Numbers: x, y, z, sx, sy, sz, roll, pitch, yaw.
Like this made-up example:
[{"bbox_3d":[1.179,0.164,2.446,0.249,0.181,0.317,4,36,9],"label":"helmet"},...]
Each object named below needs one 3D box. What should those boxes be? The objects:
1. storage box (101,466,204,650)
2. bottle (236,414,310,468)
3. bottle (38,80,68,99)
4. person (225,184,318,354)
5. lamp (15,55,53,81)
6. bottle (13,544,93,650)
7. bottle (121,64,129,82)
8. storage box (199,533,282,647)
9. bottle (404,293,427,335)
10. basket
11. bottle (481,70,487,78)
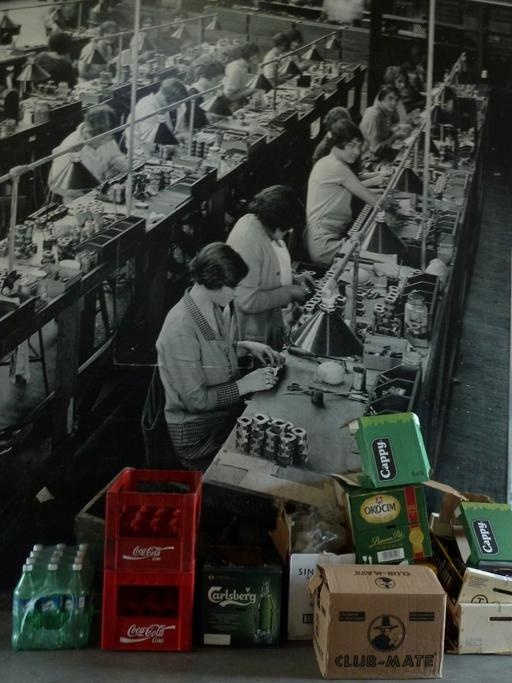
[{"bbox_3d":[-0.347,0.751,2.069,0.478,0.618,0.347,2,-9,-9],"label":"storage box"},{"bbox_3d":[0.067,0.403,2.593,0.269,0.126,0.188,10,6,-1],"label":"bottle"},{"bbox_3d":[-0.823,-1.017,2.493,0.097,0.069,0.028,-1,-3,-8],"label":"bottle"},{"bbox_3d":[0.049,-0.156,2.852,0.407,1.074,0.408,3,31,0],"label":"person"},{"bbox_3d":[-0.902,-1.096,2.510,0.102,0.106,0.105,-6,33,-6],"label":"lamp"},{"bbox_3d":[-0.677,0.887,2.206,0.266,0.265,0.388,0,7,-2],"label":"bottle"},{"bbox_3d":[-0.543,-1.103,2.547,0.042,0.068,0.016,0,16,-2],"label":"bottle"},{"bbox_3d":[-0.059,0.867,2.199,0.289,0.279,0.303,0,16,-2],"label":"storage box"},{"bbox_3d":[0.692,-0.111,2.674,0.101,0.181,0.062,2,16,7],"label":"bottle"},{"bbox_3d":[-0.348,0.758,2.065,0.475,0.611,0.343,2,-9,-10],"label":"basket"},{"bbox_3d":[0.991,-1.157,2.684,0.038,0.047,0.006,1,-10,1],"label":"bottle"}]
